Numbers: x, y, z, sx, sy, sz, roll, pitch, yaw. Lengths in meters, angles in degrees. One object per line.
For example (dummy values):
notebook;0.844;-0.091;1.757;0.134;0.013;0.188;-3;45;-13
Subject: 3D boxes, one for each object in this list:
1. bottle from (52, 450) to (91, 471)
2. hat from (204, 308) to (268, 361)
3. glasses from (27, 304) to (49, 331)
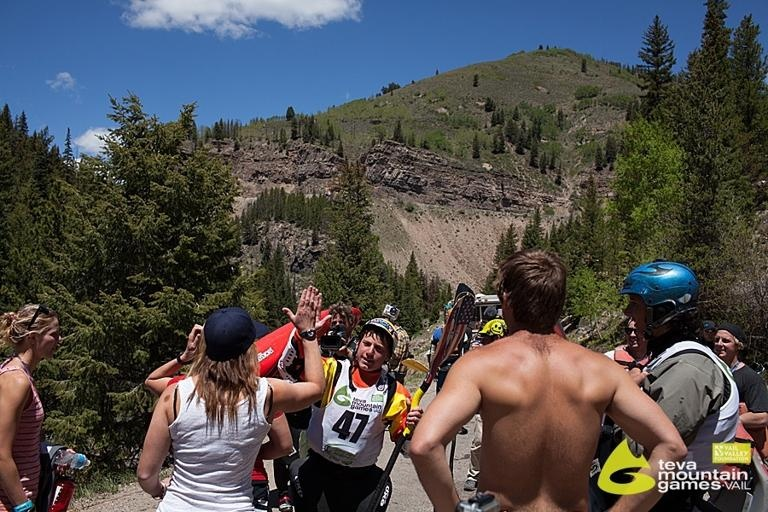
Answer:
bottle;-3.961;2.593;7.338;0.387;0.253;0.144;18;-11;-9
hat;-1.731;0.889;6.446;0.432;0.381;0.611;-8;44;-1
glasses;-4.405;0.748;7.302;0.100;0.285;0.192;38;-3;-37
